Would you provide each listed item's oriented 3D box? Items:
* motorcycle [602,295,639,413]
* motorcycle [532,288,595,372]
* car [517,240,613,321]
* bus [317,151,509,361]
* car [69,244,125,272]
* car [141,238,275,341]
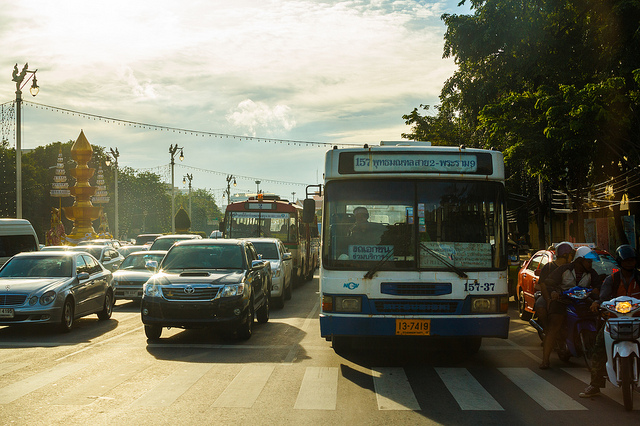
[{"bbox_3d":[4.862,2.228,9.966,0.542,1.748,0.422,0,2,1],"label":"motorcycle"},{"bbox_3d":[4.739,2.166,11.587,0.662,1.603,1.577,0,2,-3],"label":"motorcycle"},{"bbox_3d":[6.585,1.896,16.145,2.079,2.236,4.372,3,-3,5],"label":"car"},{"bbox_3d":[1.850,0.638,10.445,2.593,2.671,4.506,1,0,2],"label":"bus"},{"bbox_3d":[-8.674,1.694,25.132,1.088,0.805,2.444,0,-11,2],"label":"car"},{"bbox_3d":[-2.683,1.783,15.030,2.303,2.238,2.927,0,2,10],"label":"car"}]
